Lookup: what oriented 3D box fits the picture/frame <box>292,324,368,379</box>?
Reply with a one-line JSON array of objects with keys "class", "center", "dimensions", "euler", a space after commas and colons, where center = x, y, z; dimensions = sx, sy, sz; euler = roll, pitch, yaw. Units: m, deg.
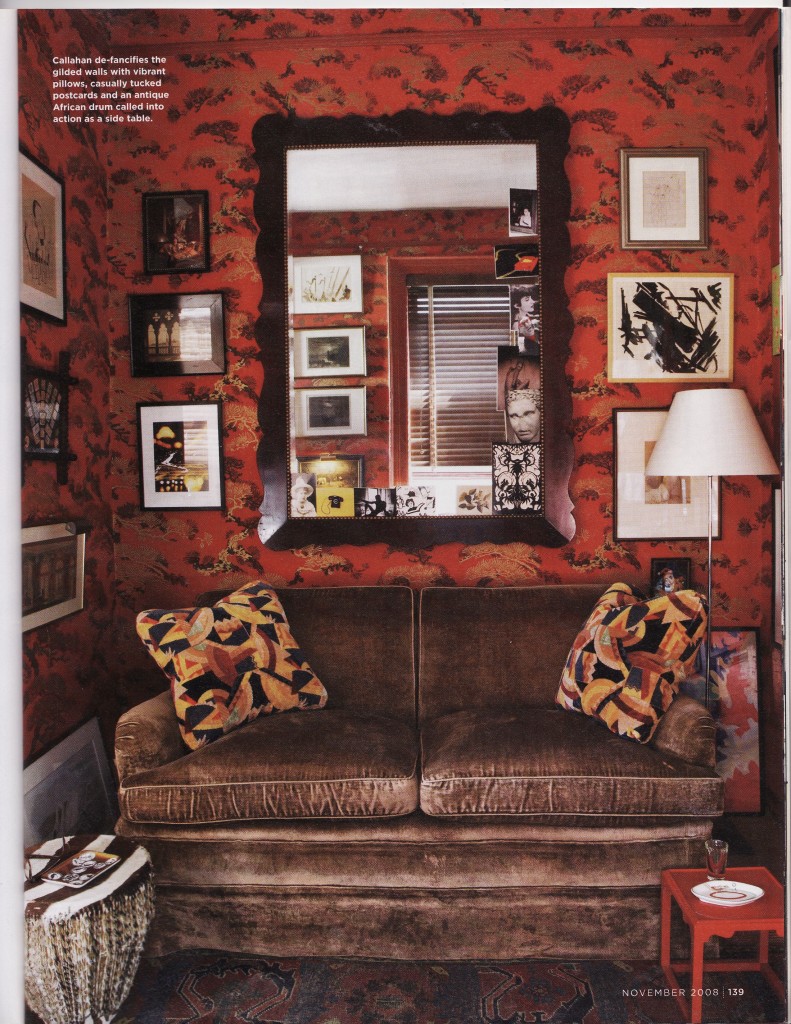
[{"class": "picture/frame", "center": [-0.171, -0.434, 2.595], "dimensions": [0.167, 0.108, 0.008], "euler": [0, -1, 10]}]

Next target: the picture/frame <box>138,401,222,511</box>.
[{"class": "picture/frame", "center": [-0.611, -0.161, 2.658], "dimensions": [0.318, 0.387, 0.015], "euler": [-1, 0, -3]}]

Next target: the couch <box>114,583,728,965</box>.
[{"class": "couch", "center": [0.050, 0.613, 2.461], "dimensions": [1.349, 0.737, 0.730], "euler": [-1, 4, 2]}]

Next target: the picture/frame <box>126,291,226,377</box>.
[{"class": "picture/frame", "center": [-0.618, -0.499, 2.644], "dimensions": [0.254, 0.203, 0.025], "euler": [0, 3, -2]}]

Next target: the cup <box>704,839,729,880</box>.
[{"class": "cup", "center": [0.688, 0.742, 2.053], "dimensions": [0.042, 0.095, 0.093], "euler": [-1, 5, 16]}]

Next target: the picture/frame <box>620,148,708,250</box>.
[{"class": "picture/frame", "center": [0.731, -0.853, 2.579], "dimensions": [0.285, 0.281, 0.020], "euler": [-1, 4, 3]}]

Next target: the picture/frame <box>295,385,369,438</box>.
[{"class": "picture/frame", "center": [-0.169, -0.278, 2.606], "dimensions": [0.158, 0.105, 0.012], "euler": [0, 1, 9]}]

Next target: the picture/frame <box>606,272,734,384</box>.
[{"class": "picture/frame", "center": [0.756, -0.513, 2.607], "dimensions": [0.323, 0.260, 0.023], "euler": [1, 6, 5]}]

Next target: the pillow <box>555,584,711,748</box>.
[{"class": "pillow", "center": [0.587, 0.373, 2.461], "dimensions": [0.250, 0.359, 0.440], "euler": [2, 1, -16]}]

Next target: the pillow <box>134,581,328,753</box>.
[{"class": "pillow", "center": [-0.483, 0.362, 2.425], "dimensions": [0.441, 0.125, 0.432], "euler": [-16, 41, -31]}]

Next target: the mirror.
[{"class": "mirror", "center": [0.075, -0.542, 2.580], "dimensions": [1.260, 1.557, 0.026], "euler": [-1, 0, -1]}]

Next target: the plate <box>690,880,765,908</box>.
[{"class": "plate", "center": [0.707, 0.804, 2.031], "dimensions": [0.159, 0.034, 0.096], "euler": [-2, 5, 3]}]

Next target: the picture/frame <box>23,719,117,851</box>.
[{"class": "picture/frame", "center": [-0.800, 0.669, 2.314], "dimensions": [0.016, 0.236, 0.364], "euler": [-14, -1, 17]}]

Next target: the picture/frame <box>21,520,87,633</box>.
[{"class": "picture/frame", "center": [-0.902, 0.153, 2.331], "dimensions": [0.110, 0.226, 0.277], "euler": [8, 11, 26]}]

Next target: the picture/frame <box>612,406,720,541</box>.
[{"class": "picture/frame", "center": [0.734, -0.092, 2.565], "dimensions": [0.391, 0.438, 0.017], "euler": [-1, -3, 0]}]
